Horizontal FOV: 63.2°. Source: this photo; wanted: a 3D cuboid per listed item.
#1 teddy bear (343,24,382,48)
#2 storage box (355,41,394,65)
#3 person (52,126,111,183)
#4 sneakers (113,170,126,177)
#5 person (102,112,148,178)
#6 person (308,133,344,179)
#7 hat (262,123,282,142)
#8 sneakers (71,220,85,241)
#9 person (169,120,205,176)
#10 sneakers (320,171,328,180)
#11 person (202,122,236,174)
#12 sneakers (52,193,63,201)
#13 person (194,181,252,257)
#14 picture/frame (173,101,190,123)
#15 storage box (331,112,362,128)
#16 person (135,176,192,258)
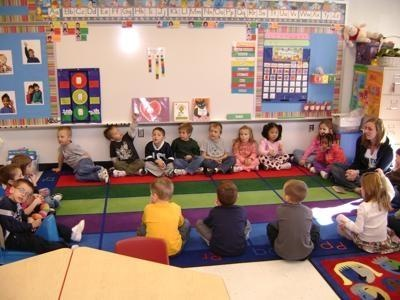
[{"bbox_3d":[2.491,-1.764,4.977,0.419,0.200,0.345,16,37,30],"label":"teddy bear"},{"bbox_3d":[2.678,-1.513,5.014,0.478,0.369,0.392,-3,11,-10],"label":"storage box"},{"bbox_3d":[-1.789,0.031,4.841,0.945,0.744,0.488,8,7,3],"label":"person"},{"bbox_3d":[-1.184,0.345,4.728,0.127,0.057,0.098,3,4,9],"label":"sneakers"},{"bbox_3d":[-1.121,-0.109,4.820,0.428,0.917,0.583,-10,12,-25],"label":"person"},{"bbox_3d":[1.851,0.043,4.844,0.442,0.838,0.807,5,11,26],"label":"person"},{"bbox_3d":[1.134,-0.281,5.122,0.215,0.273,0.310,-2,16,-1],"label":"hat"},{"bbox_3d":[-1.209,0.804,3.274,0.082,0.164,0.224,16,5,-20],"label":"sneakers"},{"bbox_3d":[-0.235,-0.033,4.899,0.529,0.733,0.552,-5,10,-27],"label":"person"},{"bbox_3d":[1.779,0.347,4.658,0.074,0.068,0.153,-4,10,-12],"label":"sneakers"},{"bbox_3d":[0.224,-0.042,4.955,0.515,0.761,0.553,-5,14,-29],"label":"person"},{"bbox_3d":[-1.738,0.574,3.966,0.070,0.085,0.210,1,-1,-23],"label":"sneakers"},{"bbox_3d":[0.184,0.593,3.184,0.630,0.807,0.578,0,13,-4],"label":"person"},{"bbox_3d":[-0.297,-0.595,4.991,0.321,0.400,0.041,0,1,-7],"label":"picture/frame"},{"bbox_3d":[2.273,-0.512,5.035,0.251,0.115,0.303,0,19,-2],"label":"storage box"},{"bbox_3d":[-0.315,0.558,3.049,0.615,0.788,0.601,3,12,-10],"label":"person"}]
